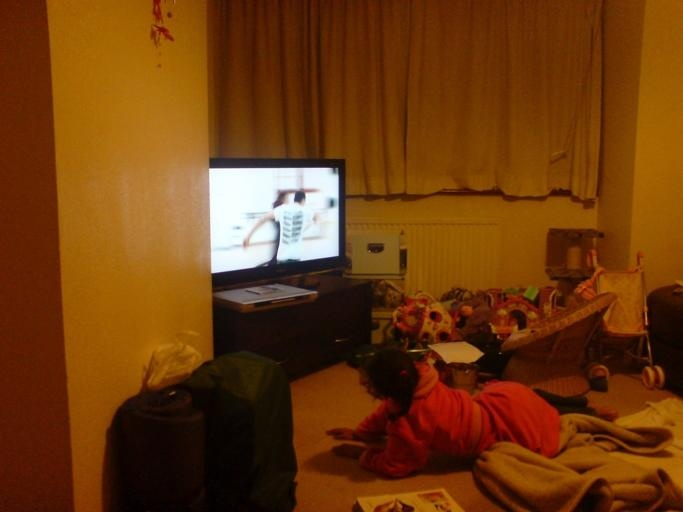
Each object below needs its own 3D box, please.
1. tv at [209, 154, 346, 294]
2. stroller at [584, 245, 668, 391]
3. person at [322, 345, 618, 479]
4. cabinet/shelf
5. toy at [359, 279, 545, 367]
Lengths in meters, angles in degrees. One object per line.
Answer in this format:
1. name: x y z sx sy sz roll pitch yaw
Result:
1. tv: -0.356 -0.244 3.588 1.067 0.811 0.072 -2 5 -44
2. stroller: 1.624 0.364 3.574 0.397 0.872 0.972 -3 -18 20
3. person: 0.558 0.652 2.594 1.190 0.520 0.477 0 16 12
4. cabinet/shelf: -0.245 0.447 3.580 0.309 0.611 1.197 5 5 44
5. toy: 0.810 0.420 3.780 0.855 0.272 0.618 -1 4 3
